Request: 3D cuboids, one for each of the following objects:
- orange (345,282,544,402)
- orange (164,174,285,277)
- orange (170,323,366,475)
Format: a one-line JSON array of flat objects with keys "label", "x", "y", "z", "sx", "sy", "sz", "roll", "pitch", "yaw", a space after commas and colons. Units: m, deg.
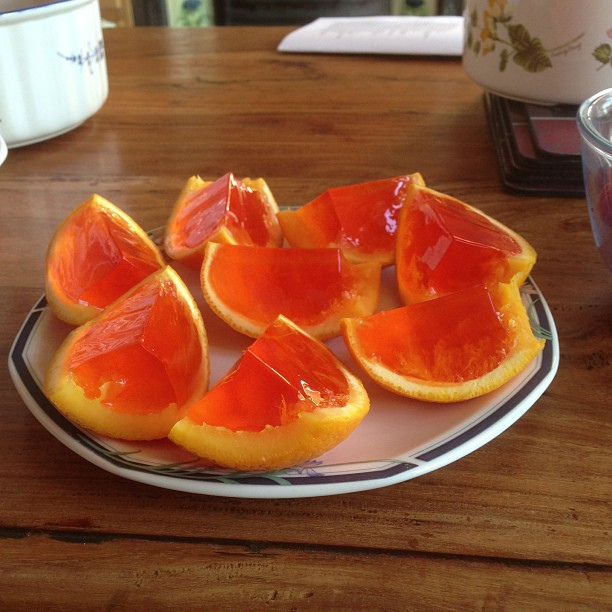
[{"label": "orange", "x": 0.103, "y": 0.021, "z": 0.558, "sx": 0.180, "sy": 0.053, "sz": 0.095, "roll": 6, "pitch": 69, "yaw": -23}, {"label": "orange", "x": -0.078, "y": -0.076, "z": 0.716, "sx": 0.158, "sy": 0.053, "sz": 0.119, "roll": 0, "pitch": 40, "yaw": 2}, {"label": "orange", "x": -0.013, "y": 0.070, "z": 0.486, "sx": 0.131, "sy": 0.033, "sz": 0.084, "roll": -9, "pitch": 35, "yaw": 1}]
